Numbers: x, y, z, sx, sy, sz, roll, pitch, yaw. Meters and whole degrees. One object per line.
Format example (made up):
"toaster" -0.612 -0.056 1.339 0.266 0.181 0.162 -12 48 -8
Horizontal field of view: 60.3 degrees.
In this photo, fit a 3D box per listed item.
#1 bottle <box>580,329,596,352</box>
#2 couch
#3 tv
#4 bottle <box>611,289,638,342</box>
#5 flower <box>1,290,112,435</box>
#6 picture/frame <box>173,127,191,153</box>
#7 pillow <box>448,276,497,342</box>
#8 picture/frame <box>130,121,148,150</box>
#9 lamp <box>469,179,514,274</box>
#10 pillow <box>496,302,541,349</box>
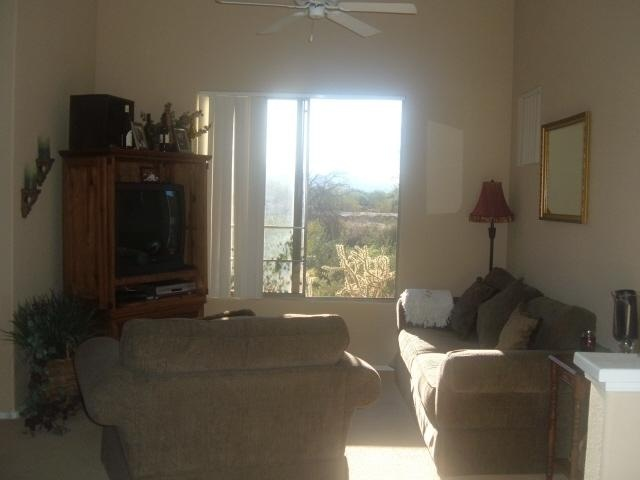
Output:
"bottle" 1.728 0.647 3.572 0.078 0.128 0.186 3 5 25
"couch" 1.271 0.926 4.128 1.155 1.232 1.981 1 4 -1
"tv" -1.558 -0.105 4.967 0.655 1.012 0.675 0 1 32
"bottle" 1.904 0.474 3.458 0.146 0.316 0.113 3 4 28
"flower" -2.083 0.970 4.685 0.935 1.336 1.116 0 1 -8
"picture/frame" -1.232 -0.882 4.886 0.020 0.224 0.213 -12 4 26
"pillow" 1.287 0.582 4.786 0.173 0.434 0.410 25 -10 -8
"picture/frame" -1.565 -0.890 4.758 0.024 0.271 0.231 -9 16 16
"lamp" 1.614 -0.137 5.245 0.385 0.885 0.494 3 4 18
"pillow" 1.319 0.628 3.792 0.076 0.275 0.252 28 -27 -10
